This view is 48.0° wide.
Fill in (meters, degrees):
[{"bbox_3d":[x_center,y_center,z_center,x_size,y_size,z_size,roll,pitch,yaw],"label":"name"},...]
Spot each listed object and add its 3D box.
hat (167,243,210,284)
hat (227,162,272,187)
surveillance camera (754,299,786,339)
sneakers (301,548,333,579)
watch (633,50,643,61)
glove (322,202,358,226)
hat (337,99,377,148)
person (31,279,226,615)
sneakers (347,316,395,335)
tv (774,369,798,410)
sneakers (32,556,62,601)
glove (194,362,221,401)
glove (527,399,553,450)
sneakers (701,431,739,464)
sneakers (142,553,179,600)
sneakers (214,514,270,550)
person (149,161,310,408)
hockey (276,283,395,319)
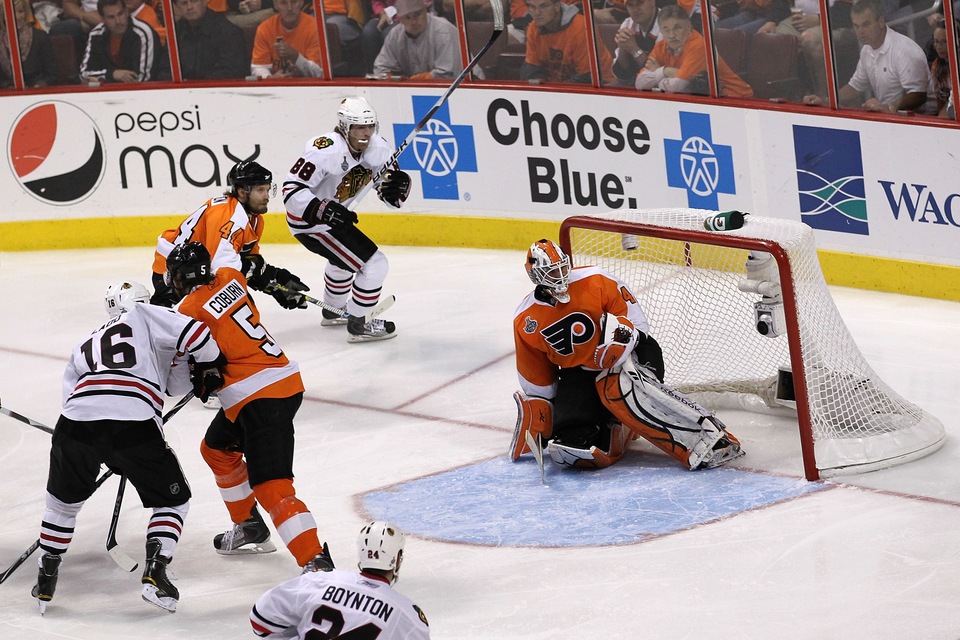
[{"bbox_3d":[-1.318,-0.257,4.928,0.211,0.169,0.150,8,12,14],"label":"hat"},{"bbox_3d":[-1.410,-0.879,6.512,0.227,0.152,0.460,-3,7,-13],"label":"hat"},{"bbox_3d":[1.466,-0.014,5.434,0.147,0.185,0.121,0,8,14],"label":"surveillance camera"},{"bbox_3d":[-0.668,1.020,4.493,0.181,0.125,0.110,1,-11,-5],"label":"sneakers"},{"bbox_3d":[1.228,-2.057,8.380,0.094,0.082,0.027,9,-1,16],"label":"watch"},{"bbox_3d":[-0.949,-0.704,7.161,0.241,0.162,0.165,-4,8,-20],"label":"glove"},{"bbox_3d":[-0.831,-1.300,7.095,0.239,0.327,0.269,-3,7,-9],"label":"hat"},{"bbox_3d":[-1.548,0.576,4.752,0.738,1.300,0.619,1,8,15],"label":"person"},{"bbox_3d":[-0.773,0.042,7.570,0.371,0.148,0.117,-2,10,-9],"label":"sneakers"},{"bbox_3d":[1.652,0.365,5.811,0.086,0.238,0.196,-3,7,-9],"label":"tv"},{"bbox_3d":[-1.907,1.115,4.701,0.120,0.219,0.222,-5,8,-24],"label":"sneakers"},{"bbox_3d":[-1.229,0.280,4.796,0.140,0.135,0.059,28,16,35],"label":"glove"},{"bbox_3d":[0.309,0.526,5.535,0.101,0.279,0.125,6,12,34],"label":"glove"},{"bbox_3d":[1.227,0.646,5.413,0.252,0.183,0.071,-6,9,-32],"label":"sneakers"},{"bbox_3d":[-1.356,1.093,4.537,0.138,0.192,0.140,-3,8,-16],"label":"sneakers"},{"bbox_3d":[-1.101,1.010,5.131,0.334,0.206,0.108,2,3,-1],"label":"sneakers"},{"bbox_3d":[-1.548,-0.193,6.556,1.043,1.424,0.682,6,11,-3],"label":"person"},{"bbox_3d":[-1.028,-0.122,7.532,0.467,0.068,0.077,24,48,-6],"label":"hockey"}]
